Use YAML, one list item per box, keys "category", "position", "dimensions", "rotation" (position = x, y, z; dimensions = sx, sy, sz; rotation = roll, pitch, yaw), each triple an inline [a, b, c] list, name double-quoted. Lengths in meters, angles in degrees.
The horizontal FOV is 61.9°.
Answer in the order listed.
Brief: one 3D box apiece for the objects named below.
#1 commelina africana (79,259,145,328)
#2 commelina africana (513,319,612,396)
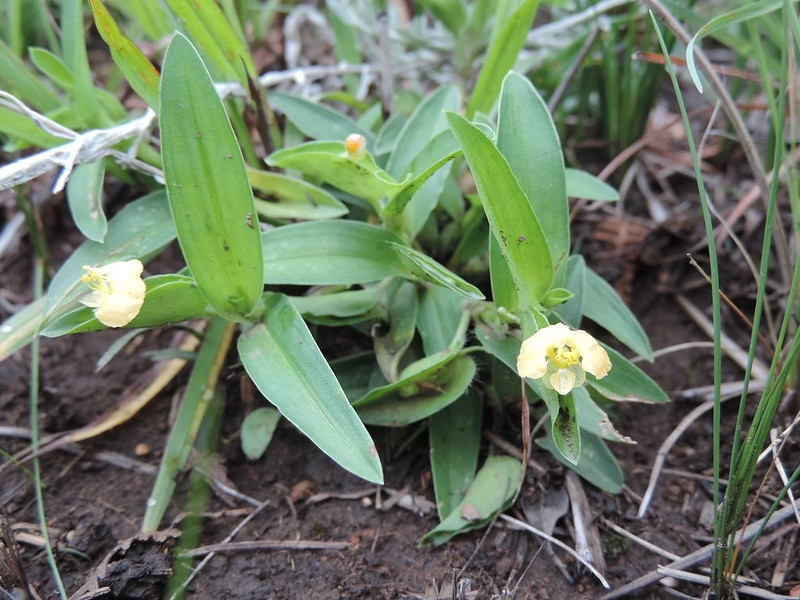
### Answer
- category: "commelina africana"
  position: [-0.546, -0.007, 1.304]
  dimensions: [0.121, 0.054, 0.130]
  rotation: [-29, 79, 8]
- category: "commelina africana"
  position: [0.308, 0.121, 1.254]
  dimensions: [0.162, 0.114, 0.100]
  rotation: [9, 51, 15]
